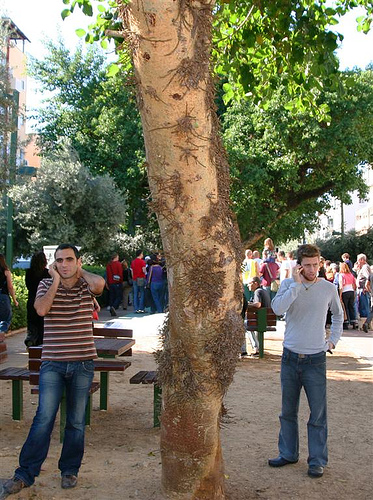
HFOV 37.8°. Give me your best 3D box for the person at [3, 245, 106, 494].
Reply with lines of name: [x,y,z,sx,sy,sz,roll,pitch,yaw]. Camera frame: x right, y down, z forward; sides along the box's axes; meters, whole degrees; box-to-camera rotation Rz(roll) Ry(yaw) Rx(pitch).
person: [-0.921,0.783,3.763,0.611,1.658,0.325,4,-3,-40]

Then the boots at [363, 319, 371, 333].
boots: [4.922,2.065,14.870,0.197,0.351,0.936,1,-3,18]

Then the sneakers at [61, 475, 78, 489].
sneakers: [-0.803,1.578,3.705,0.106,0.085,0.126,2,-3,-11]

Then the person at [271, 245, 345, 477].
person: [0.962,0.856,4.423,0.524,1.790,0.561,1,-3,22]

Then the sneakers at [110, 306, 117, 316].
sneakers: [-2.410,2.031,17.885,0.147,0.377,0.171,-6,18,-6]

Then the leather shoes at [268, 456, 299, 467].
leather shoes: [0.792,1.729,4.439,0.231,0.091,0.076,5,-7,-11]

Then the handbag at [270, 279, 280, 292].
handbag: [2.454,0.973,15.107,0.264,0.474,0.421,-1,-1,17]

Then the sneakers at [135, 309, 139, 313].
sneakers: [-1.728,2.167,18.958,0.084,0.138,0.108,-1,-3,-7]

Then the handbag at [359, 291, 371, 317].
handbag: [4.844,1.490,14.707,0.227,0.577,0.429,7,0,5]

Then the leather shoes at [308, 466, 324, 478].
leather shoes: [0.993,1.682,4.122,0.146,0.077,0.077,3,-3,-24]

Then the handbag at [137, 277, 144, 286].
handbag: [-1.548,1.115,18.514,0.245,0.242,0.242,-4,6,-35]

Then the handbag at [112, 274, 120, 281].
handbag: [-2.458,0.963,18.886,0.170,0.213,0.071,-1,-2,-7]
